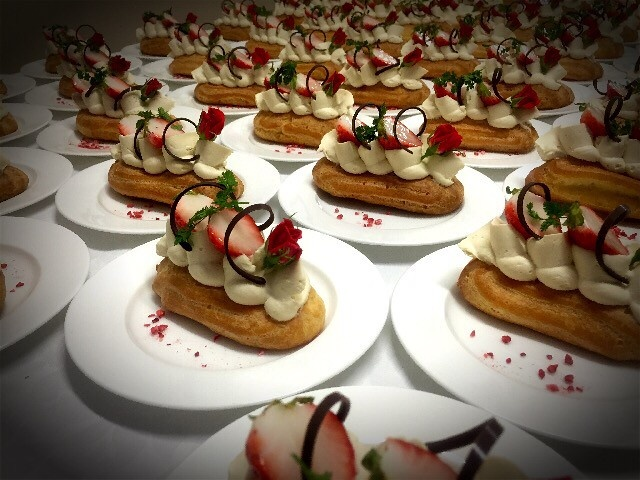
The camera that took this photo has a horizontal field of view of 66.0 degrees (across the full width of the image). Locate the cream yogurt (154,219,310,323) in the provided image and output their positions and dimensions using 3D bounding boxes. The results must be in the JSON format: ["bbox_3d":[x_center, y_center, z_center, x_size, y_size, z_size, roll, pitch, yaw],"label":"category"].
[{"bbox_3d":[-0.301,0.095,1.742,0.427,0.183,0.314,18,47,11],"label":"cream yogurt"}]

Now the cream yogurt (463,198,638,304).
[{"bbox_3d":[0.835,0.046,1.798,0.474,0.170,0.333,20,39,27],"label":"cream yogurt"}]

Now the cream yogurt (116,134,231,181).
[{"bbox_3d":[-0.732,-0.406,2.452,0.277,0.108,0.147,8,49,9],"label":"cream yogurt"}]
